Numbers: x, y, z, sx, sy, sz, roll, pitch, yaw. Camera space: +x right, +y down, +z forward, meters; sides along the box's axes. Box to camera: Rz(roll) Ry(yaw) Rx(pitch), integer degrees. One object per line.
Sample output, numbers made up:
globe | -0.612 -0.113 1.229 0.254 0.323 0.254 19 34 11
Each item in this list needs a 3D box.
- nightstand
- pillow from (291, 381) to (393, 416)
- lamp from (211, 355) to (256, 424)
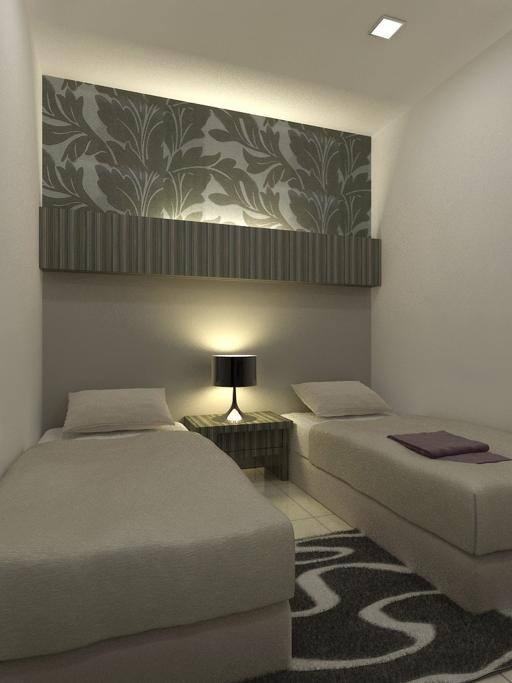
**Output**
nightstand | -0.029 0.723 3.448 0.627 0.378 0.507 -7 -2 14
pillow | 0.609 0.408 3.558 0.611 0.209 0.461 -2 1 -7
lamp | -0.164 0.308 3.366 0.275 0.433 0.339 -2 1 -33
